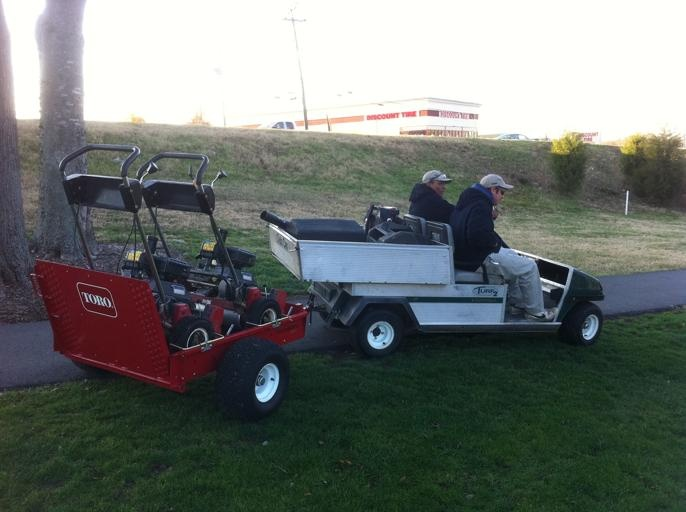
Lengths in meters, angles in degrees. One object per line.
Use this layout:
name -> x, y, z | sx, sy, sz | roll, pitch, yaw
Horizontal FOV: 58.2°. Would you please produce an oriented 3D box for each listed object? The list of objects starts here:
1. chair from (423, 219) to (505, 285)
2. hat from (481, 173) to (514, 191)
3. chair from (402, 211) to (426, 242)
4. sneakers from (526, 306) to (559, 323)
chair -> 1.693, -0.064, 8.651 | 1.103, 0.851, 0.855 | -2, 13, -8
hat -> 2.293, -1.080, 8.996 | 0.615, 0.255, 0.414 | -1, 13, -8
chair -> 1.028, -0.416, 8.895 | 0.232, 0.414, 0.279 | -20, 31, -13
sneakers -> 2.849, 0.816, 8.858 | 0.542, 0.241, 0.182 | -4, 22, -7
